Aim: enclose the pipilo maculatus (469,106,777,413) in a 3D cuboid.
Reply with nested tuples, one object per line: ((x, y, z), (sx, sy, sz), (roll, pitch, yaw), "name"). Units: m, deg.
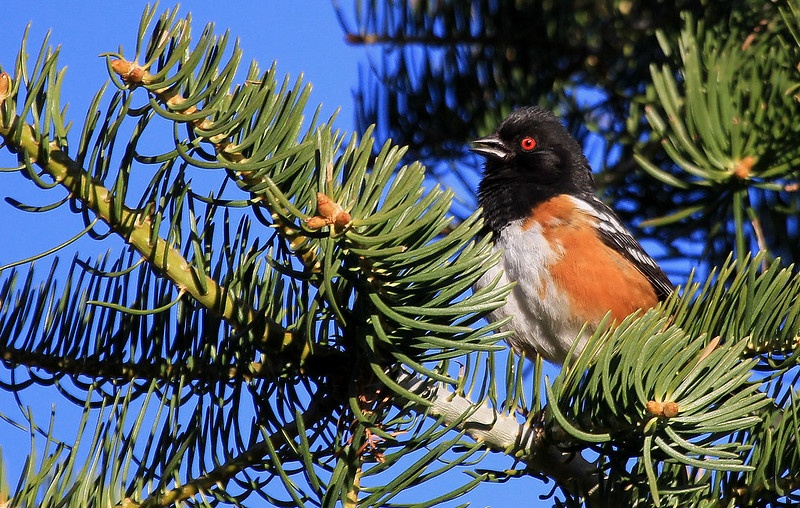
((1.008, -0.105, 6.786), (1.337, 1.391, 0.753), (9, -19, -17), "pipilo maculatus")
